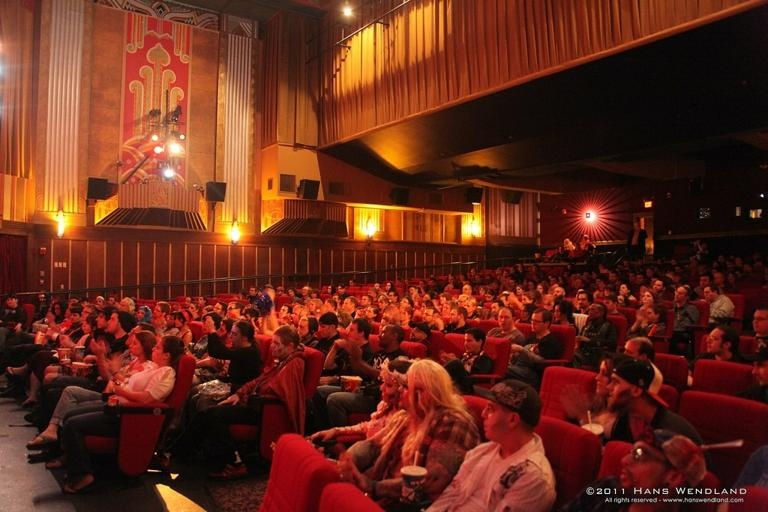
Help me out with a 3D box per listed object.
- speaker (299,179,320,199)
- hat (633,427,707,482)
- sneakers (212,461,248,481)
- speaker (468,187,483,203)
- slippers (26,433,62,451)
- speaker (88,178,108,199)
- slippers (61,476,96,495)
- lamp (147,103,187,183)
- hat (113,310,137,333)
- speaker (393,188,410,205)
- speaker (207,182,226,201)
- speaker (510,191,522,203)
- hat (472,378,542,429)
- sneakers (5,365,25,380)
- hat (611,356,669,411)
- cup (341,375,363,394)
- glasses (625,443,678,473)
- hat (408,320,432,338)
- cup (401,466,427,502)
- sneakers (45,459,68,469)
[{"bbox_3d":[-2.491,-2.109,18.583,0.767,0.792,0.544,1,11,-13],"label":"speaker"},{"bbox_3d":[1.882,1.279,3.662,0.394,0.320,0.279,27,6,36],"label":"hat"},{"bbox_3d":[-1.755,2.445,6.433,0.366,0.153,0.147,8,-13,-20],"label":"sneakers"},{"bbox_3d":[3.372,-2.236,21.305,0.510,0.662,0.633,-4,1,-1],"label":"speaker"},{"bbox_3d":[-4.181,2.283,6.955,0.512,0.196,0.274,7,-11,-19],"label":"slippers"},{"bbox_3d":[-8.149,-1.869,16.052,0.535,0.621,0.277,-4,12,-18],"label":"speaker"},{"bbox_3d":[-3.344,2.480,6.194,0.303,0.116,0.162,7,-5,-23],"label":"slippers"},{"bbox_3d":[-6.951,-3.434,17.555,1.215,2.629,1.058,1,35,-17],"label":"lamp"},{"bbox_3d":[-3.502,0.880,7.629,0.238,0.301,0.303,7,4,-43],"label":"hat"},{"bbox_3d":[0.572,-2.112,20.523,0.798,0.666,0.272,-11,16,-41],"label":"speaker"},{"bbox_3d":[-5.317,-1.974,17.886,0.666,0.679,0.416,-6,13,-25],"label":"speaker"},{"bbox_3d":[5.532,-2.372,23.768,0.435,0.526,0.489,0,-11,-8],"label":"speaker"},{"bbox_3d":[1.015,1.181,4.597,0.451,0.243,0.324,29,3,20],"label":"hat"},{"bbox_3d":[-6.018,1.878,9.197,0.493,0.193,0.180,-7,-6,40],"label":"sneakers"},{"bbox_3d":[2.171,1.069,4.978,0.490,0.303,0.310,24,-1,2],"label":"hat"},{"bbox_3d":[-0.402,1.528,6.782,0.178,0.117,0.178,2,-6,0],"label":"cup"},{"bbox_3d":[1.744,1.305,3.716,0.168,0.055,0.172,18,-11,-8],"label":"glasses"},{"bbox_3d":[0.501,1.068,8.136,0.244,0.235,0.197,26,-15,-9],"label":"hat"},{"bbox_3d":[0.203,1.829,4.660,0.232,0.269,0.245,4,1,0],"label":"cup"},{"bbox_3d":[-3.862,2.427,6.663,0.229,0.087,0.077,11,-10,-41],"label":"sneakers"}]
